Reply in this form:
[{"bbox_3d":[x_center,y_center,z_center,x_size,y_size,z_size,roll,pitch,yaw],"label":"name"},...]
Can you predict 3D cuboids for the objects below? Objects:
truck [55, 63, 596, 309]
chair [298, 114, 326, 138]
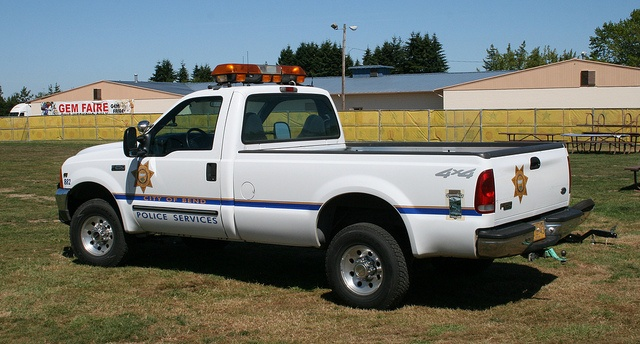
[{"bbox_3d":[0.299,0.362,9.695,10.369,3.569,4.192,2,2,27],"label":"truck"},{"bbox_3d":[-0.130,-0.849,10.022,0.405,0.520,0.574,6,-8,18],"label":"chair"}]
